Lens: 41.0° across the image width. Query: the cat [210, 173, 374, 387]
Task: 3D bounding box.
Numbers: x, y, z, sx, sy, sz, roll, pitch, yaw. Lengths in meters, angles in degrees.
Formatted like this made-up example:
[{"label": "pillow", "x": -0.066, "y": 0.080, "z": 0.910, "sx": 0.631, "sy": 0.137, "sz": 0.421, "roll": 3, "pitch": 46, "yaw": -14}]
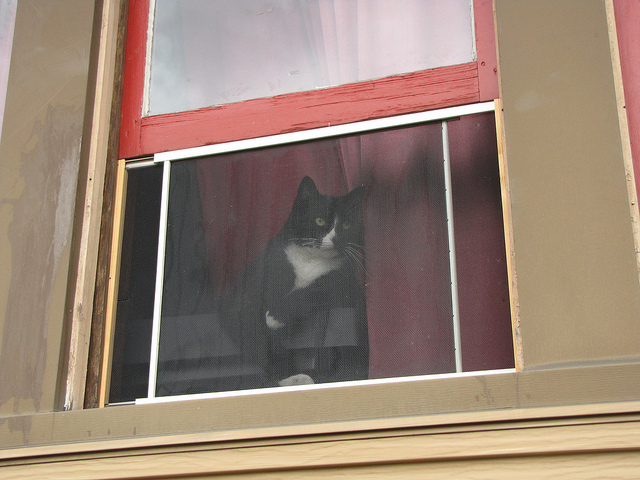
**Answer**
[{"label": "cat", "x": -0.085, "y": 0.089, "z": 2.781, "sx": 0.284, "sy": 0.476, "sz": 0.710, "roll": 5, "pitch": -6, "yaw": -23}]
